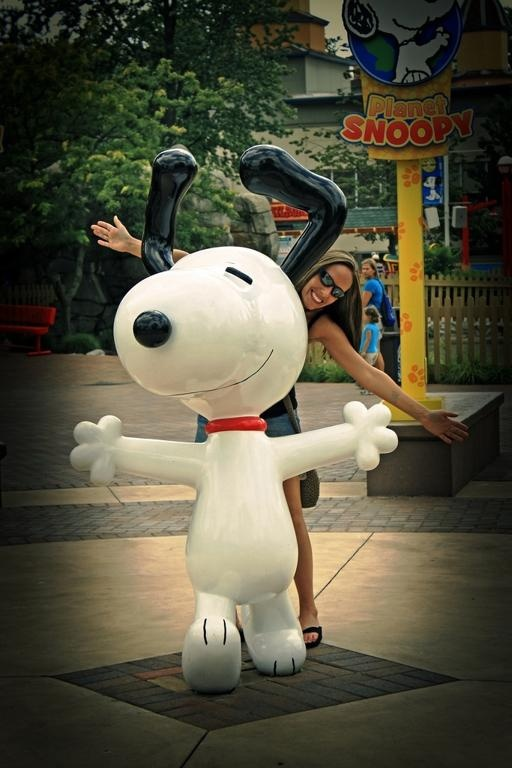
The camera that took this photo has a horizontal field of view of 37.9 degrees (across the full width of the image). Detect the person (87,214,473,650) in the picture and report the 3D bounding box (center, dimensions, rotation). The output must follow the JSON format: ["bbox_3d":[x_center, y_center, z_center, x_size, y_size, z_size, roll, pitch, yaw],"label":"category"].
[{"bbox_3d":[0.159,0.254,3.241,1.446,1.710,0.706,0,10,12],"label":"person"}]

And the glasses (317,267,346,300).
[{"bbox_3d":[0.293,-0.394,2.891,0.116,0.039,0.110,40,7,-42],"label":"glasses"}]

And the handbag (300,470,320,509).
[{"bbox_3d":[0.235,0.458,3.250,0.059,0.158,0.128,5,22,19],"label":"handbag"}]
